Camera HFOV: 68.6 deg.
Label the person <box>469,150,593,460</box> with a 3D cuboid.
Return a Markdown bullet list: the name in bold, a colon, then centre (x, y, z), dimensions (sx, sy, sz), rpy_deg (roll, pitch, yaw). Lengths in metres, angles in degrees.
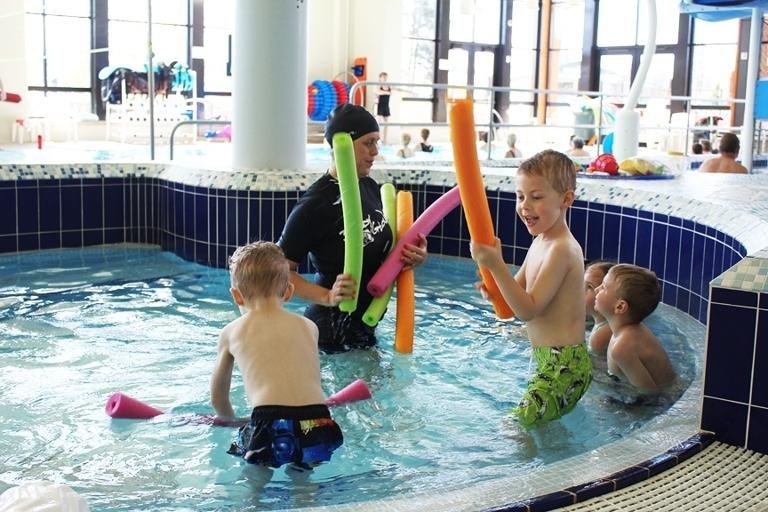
- **person**: centre (0.576, 0.145, 2.181), dimensions (0.466, 1.072, 0.257), rpy_deg (-6, 16, -24)

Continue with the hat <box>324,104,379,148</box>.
- **hat**: centre (-0.160, -0.618, 2.701), dimensions (0.226, 0.169, 0.208), rpy_deg (16, -4, 14)

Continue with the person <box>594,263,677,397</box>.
- **person**: centre (1.225, 0.417, 2.714), dimensions (0.421, 0.733, 0.378), rpy_deg (3, 13, 16)

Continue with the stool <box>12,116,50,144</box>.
- **stool**: centre (-6.956, -2.479, 11.069), dimensions (0.397, 0.483, 0.938), rpy_deg (-1, 14, -5)

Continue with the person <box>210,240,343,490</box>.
- **person**: centre (-0.403, 0.354, 2.036), dimensions (0.416, 0.748, 0.496), rpy_deg (-6, 15, -23)
